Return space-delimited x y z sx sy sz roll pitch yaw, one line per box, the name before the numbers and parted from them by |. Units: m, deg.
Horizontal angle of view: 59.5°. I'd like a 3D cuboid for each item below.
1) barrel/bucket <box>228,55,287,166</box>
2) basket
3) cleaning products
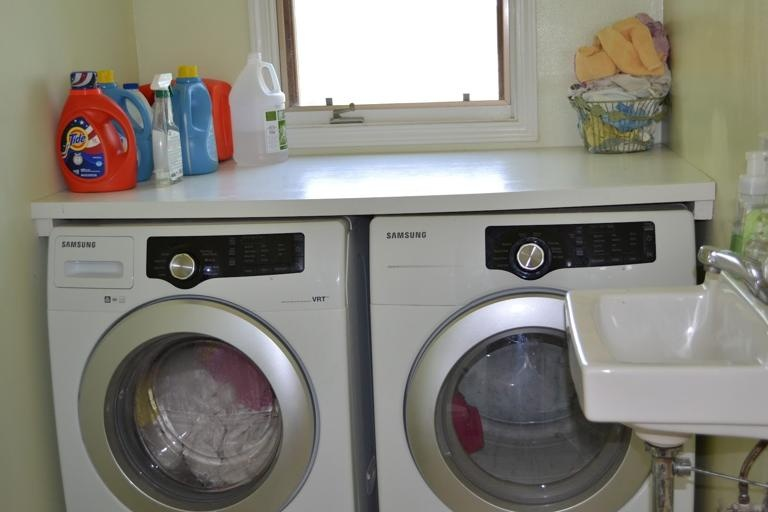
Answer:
barrel/bucket | -0.469 -0.536 2.473 0.205 0.403 0.111 -8 10 -14
basket | 0.869 -0.487 2.497 0.322 0.186 0.357 -6 13 -23
cleaning products | -0.827 -0.419 2.286 0.459 0.642 0.242 -1 5 -10
